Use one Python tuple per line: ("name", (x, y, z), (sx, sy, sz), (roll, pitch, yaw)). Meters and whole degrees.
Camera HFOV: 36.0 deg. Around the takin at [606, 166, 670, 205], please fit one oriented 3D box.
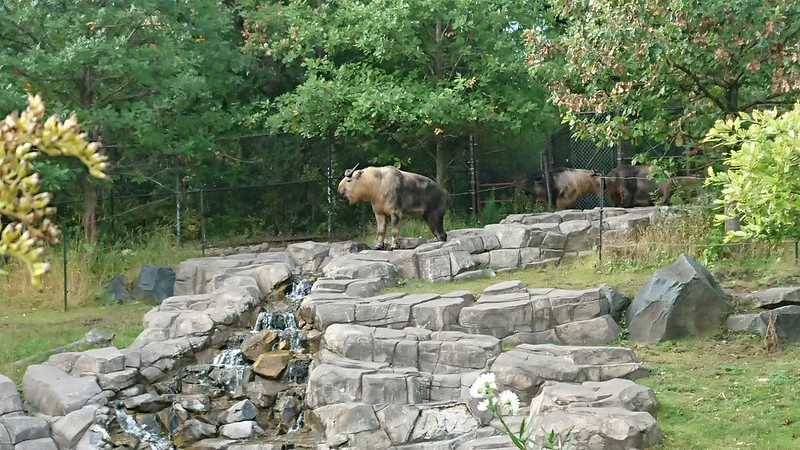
("takin", (6.312, -1.054, 32.999), (2.220, 1.181, 0.712), (-8, 2, -44))
